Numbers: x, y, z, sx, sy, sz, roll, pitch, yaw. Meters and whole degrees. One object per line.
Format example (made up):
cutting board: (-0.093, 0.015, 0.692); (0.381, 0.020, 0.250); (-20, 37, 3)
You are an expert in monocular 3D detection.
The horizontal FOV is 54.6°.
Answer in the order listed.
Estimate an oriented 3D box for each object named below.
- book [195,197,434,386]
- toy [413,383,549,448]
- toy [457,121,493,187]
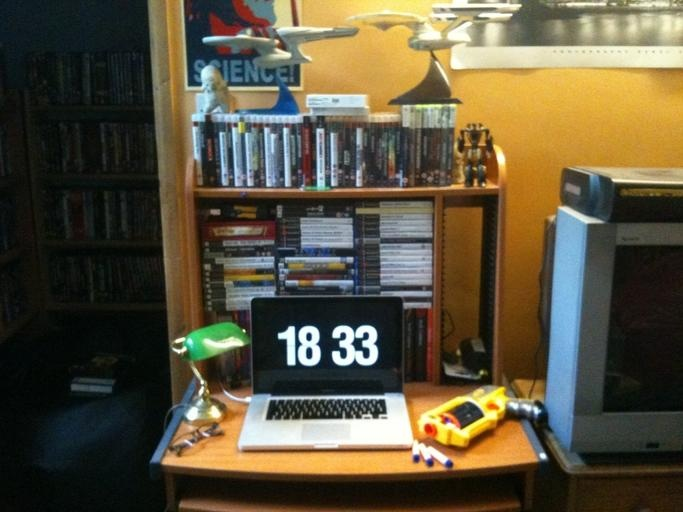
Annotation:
book: (-0.095, 0.103, 2.349); (0.665, 0.577, 0.273); (0, 3, -1)
toy: (0.443, 0.511, 2.200); (0.353, 0.142, 0.180); (-21, 19, -33)
toy: (0.484, -0.373, 2.413); (0.132, 0.213, 0.090); (0, 10, 8)
